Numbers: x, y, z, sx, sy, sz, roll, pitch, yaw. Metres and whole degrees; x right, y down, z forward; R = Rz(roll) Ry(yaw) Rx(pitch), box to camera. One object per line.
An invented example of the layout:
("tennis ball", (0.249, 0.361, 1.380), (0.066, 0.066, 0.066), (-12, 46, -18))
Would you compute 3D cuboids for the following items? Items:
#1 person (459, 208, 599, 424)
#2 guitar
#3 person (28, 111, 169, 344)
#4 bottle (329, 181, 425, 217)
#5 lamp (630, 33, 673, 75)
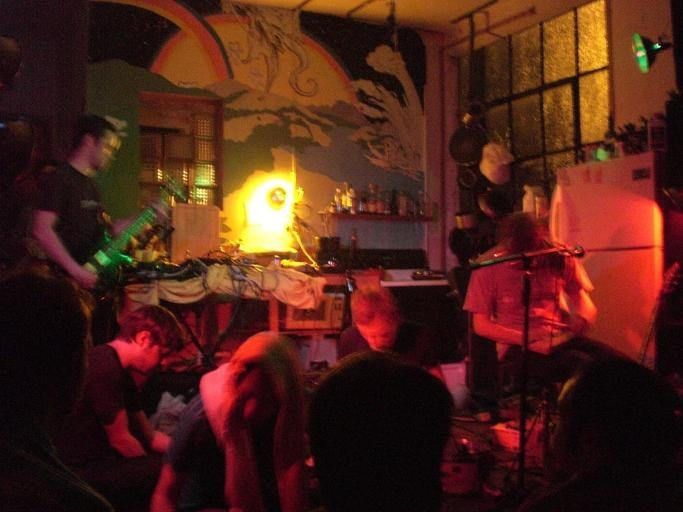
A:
("person", (1.212, 0.251, 4.095), (0.803, 1.123, 0.660), (-13, 34, 7))
("guitar", (-1.500, -0.091, 4.388), (0.161, 0.405, 1.032), (-15, 27, 41))
("person", (-1.694, -0.376, 4.183), (0.220, 1.862, 0.716), (-8, -25, 41))
("bottle", (0.330, -0.544, 6.692), (1.166, 0.452, 0.355), (-1, -3, -21))
("lamp", (2.392, -1.593, 4.945), (0.196, 0.274, 0.274), (-19, -6, 13))
